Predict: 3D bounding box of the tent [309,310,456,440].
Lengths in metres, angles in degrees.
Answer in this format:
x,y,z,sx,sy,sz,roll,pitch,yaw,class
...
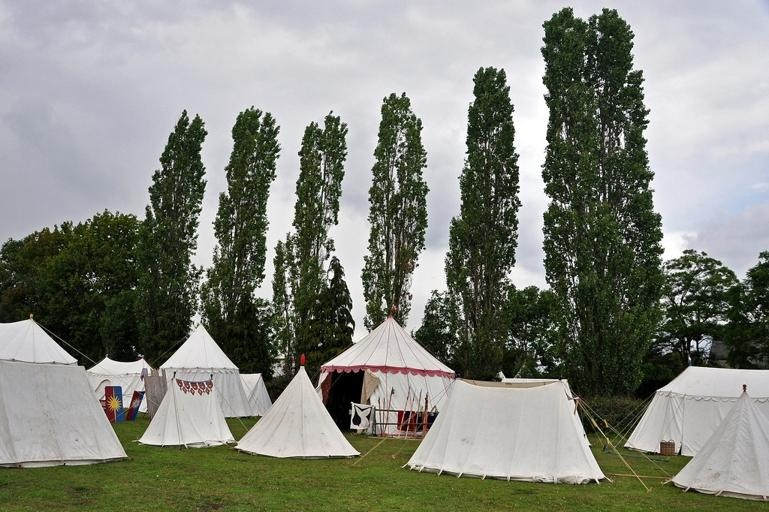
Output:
x,y,z,sx,sy,sz,roll,pitch,yaw,class
0.819,5.297,41.249,6.394,4.912,6.913,-10,3,-31,tent

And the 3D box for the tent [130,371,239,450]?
x,y,z,sx,sy,sz,roll,pitch,yaw,class
-8.134,6.606,34.310,3.878,2.733,2.232,7,-9,-36,tent

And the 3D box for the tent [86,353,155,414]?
x,y,z,sx,sy,sz,roll,pitch,yaw,class
-14.527,6.517,45.525,3.984,1.507,4.180,13,12,22,tent

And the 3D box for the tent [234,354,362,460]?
x,y,z,sx,sy,sz,roll,pitch,yaw,class
-3.477,6.157,32.242,4.096,3.532,1.726,0,8,-5,tent

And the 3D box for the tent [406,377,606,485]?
x,y,z,sx,sy,sz,roll,pitch,yaw,class
4.825,6.598,31.272,7.091,3.570,5.127,-7,-12,34,tent

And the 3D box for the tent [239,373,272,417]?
x,y,z,sx,sy,sz,roll,pitch,yaw,class
-7.701,7.957,46.624,2.002,2.411,3.464,-2,-7,5,tent
